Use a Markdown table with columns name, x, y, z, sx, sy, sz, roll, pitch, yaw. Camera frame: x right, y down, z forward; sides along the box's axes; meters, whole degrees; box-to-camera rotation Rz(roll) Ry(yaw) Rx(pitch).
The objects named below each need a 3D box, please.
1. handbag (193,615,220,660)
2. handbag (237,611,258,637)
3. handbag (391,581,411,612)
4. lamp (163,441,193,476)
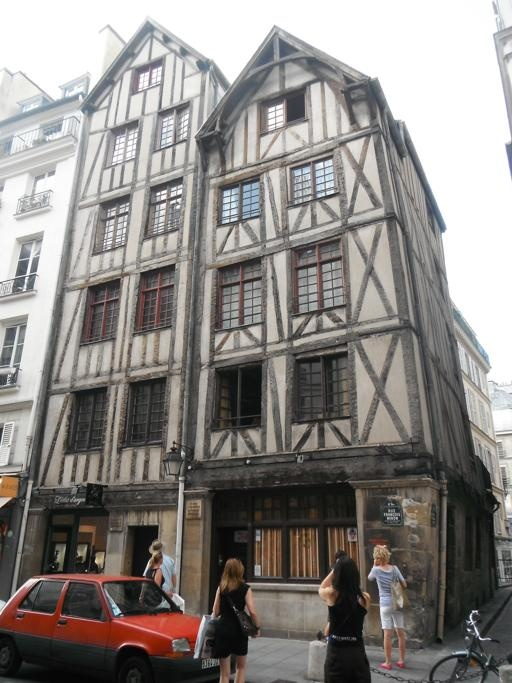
| name | x | y | z | sx | sy | sz | roll | pitch | yaw |
| --- | --- | --- | --- | --- | --- | --- | --- | --- | --- |
| handbag | -0.411 | 2.477 | 3.960 | 0.248 | 0.344 | 0.139 | 14 | -23 | -31 |
| handbag | -0.080 | 2.376 | 3.975 | 0.180 | 0.187 | 0.095 | 3 | -20 | -5 |
| handbag | 1.929 | 3.366 | 6.262 | 0.189 | 0.318 | 0.145 | 8 | -21 | -17 |
| lamp | -1.878 | 2.729 | 11.058 | 0.585 | 0.792 | 1.023 | -1 | -21 | 7 |
